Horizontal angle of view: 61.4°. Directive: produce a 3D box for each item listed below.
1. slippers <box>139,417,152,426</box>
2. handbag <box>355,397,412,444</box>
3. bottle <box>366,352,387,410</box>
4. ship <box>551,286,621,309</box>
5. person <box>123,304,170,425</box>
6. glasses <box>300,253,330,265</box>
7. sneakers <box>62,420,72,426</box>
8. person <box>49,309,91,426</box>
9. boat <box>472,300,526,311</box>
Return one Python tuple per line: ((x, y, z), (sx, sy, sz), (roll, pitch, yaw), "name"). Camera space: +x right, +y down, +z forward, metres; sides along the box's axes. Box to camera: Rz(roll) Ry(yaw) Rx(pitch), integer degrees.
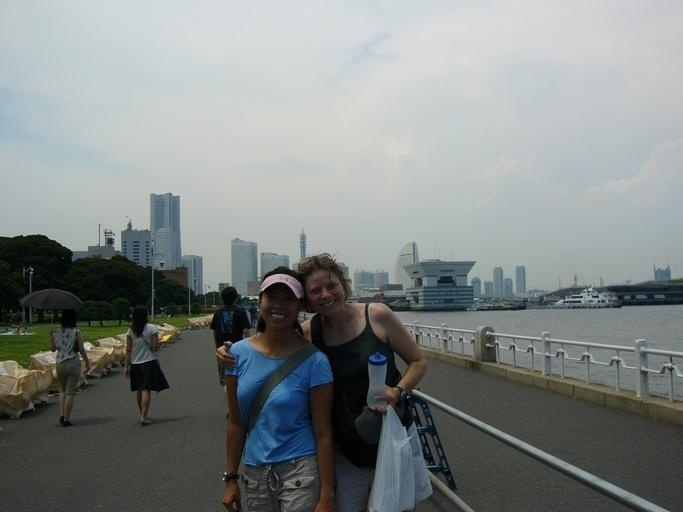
((-3.408, 2.857, 9.948), (0.086, 0.101, 0.228), (1, -3, -2), "slippers")
((0.343, 1.281, 4.492), (0.533, 0.309, 0.147), (0, -4, -37), "handbag")
((0.258, 0.955, 4.354), (0.149, 0.424, 0.110), (-2, -3, 2), "bottle")
((73.821, 12.623, 171.186), (10.171, 6.338, 20.023), (-3, -3, 5), "ship")
((-3.521, 1.917, 10.253), (0.665, 2.049, 0.749), (-1, -3, -22), "person")
((-0.222, 0.040, 4.581), (0.209, 0.073, 0.153), (-1, 0, -43), "glasses")
((-4.754, 2.876, 9.924), (0.133, 0.093, 0.223), (0, -4, -39), "sneakers")
((-4.900, 1.968, 10.323), (0.593, 1.968, 0.906), (-1, -3, -26), "person")
((54.666, 17.606, 201.981), (16.233, 2.424, 30.689), (-3, -3, 13), "boat")
